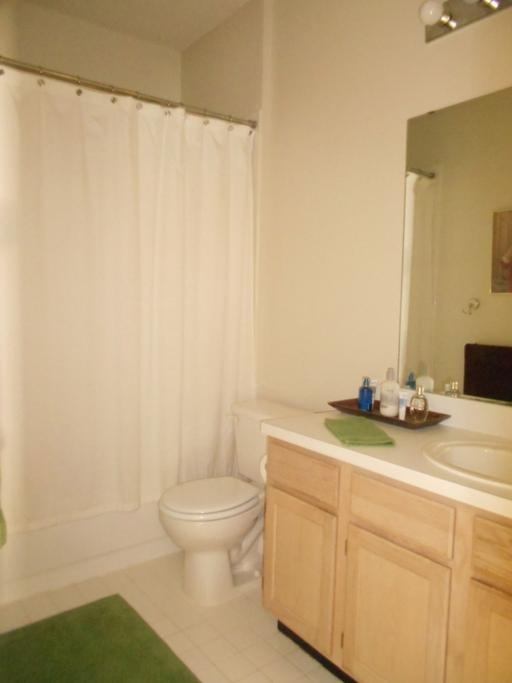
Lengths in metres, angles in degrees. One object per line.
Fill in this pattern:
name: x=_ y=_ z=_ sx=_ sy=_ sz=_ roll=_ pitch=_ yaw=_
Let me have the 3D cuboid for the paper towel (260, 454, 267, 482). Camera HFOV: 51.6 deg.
paper towel: x=0.031 y=0.533 z=2.220 sx=0.021 sy=0.103 sz=0.098 roll=4 pitch=-9 yaw=-10

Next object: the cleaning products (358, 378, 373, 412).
cleaning products: x=0.381 y=0.184 z=1.838 sx=0.049 sy=0.108 sz=0.140 roll=2 pitch=7 yaw=11

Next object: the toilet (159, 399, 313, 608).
toilet: x=-0.114 y=0.671 z=2.232 sx=0.558 sy=0.749 sz=0.319 roll=-6 pitch=15 yaw=-33
